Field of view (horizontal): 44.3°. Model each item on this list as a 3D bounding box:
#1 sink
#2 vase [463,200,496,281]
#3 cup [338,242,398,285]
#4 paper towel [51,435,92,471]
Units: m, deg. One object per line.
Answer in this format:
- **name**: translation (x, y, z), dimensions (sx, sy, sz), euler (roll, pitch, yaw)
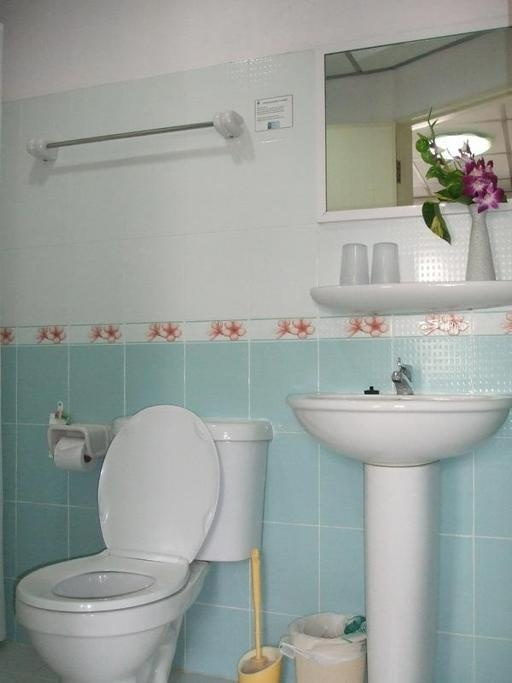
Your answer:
- **sink**: translation (0.320, 0.202, 1.395), dimensions (0.485, 0.161, 0.265), euler (-1, -2, -1)
- **vase**: translation (0.553, -0.246, 1.562), dimensions (0.066, 0.200, 0.082), euler (-2, -2, 20)
- **cup**: translation (0.297, -0.204, 1.655), dimensions (0.157, 0.127, 0.167), euler (-1, -2, 0)
- **paper towel**: translation (-0.576, 0.348, 1.997), dimensions (0.119, 0.096, 0.110), euler (-5, 10, 25)
